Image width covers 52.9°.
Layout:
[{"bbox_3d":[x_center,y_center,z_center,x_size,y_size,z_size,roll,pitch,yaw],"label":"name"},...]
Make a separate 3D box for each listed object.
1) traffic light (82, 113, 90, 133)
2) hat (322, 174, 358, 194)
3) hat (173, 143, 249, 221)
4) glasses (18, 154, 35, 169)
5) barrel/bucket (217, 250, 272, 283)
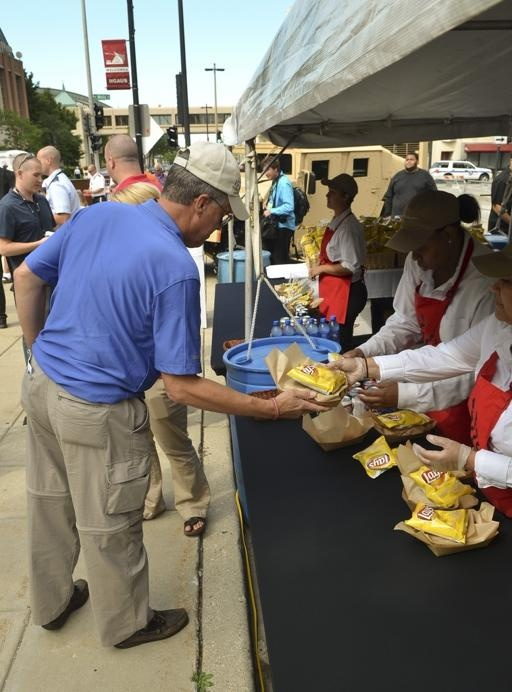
[{"bbox_3d":[-6.606,-8.675,20.091,0.246,0.762,1.069,-8,20,-15],"label":"traffic light"},{"bbox_3d":[0.771,-1.456,4.661,0.291,0.143,0.181,23,24,-15],"label":"hat"},{"bbox_3d":[-0.154,-0.538,1.706,0.226,0.243,0.098,-5,20,-8],"label":"hat"},{"bbox_3d":[-1.985,-1.584,4.405,0.052,0.128,0.109,38,6,-13],"label":"glasses"},{"bbox_3d":[-0.165,-1.086,7.147,0.746,0.724,0.705,0,21,0],"label":"barrel/bucket"}]
